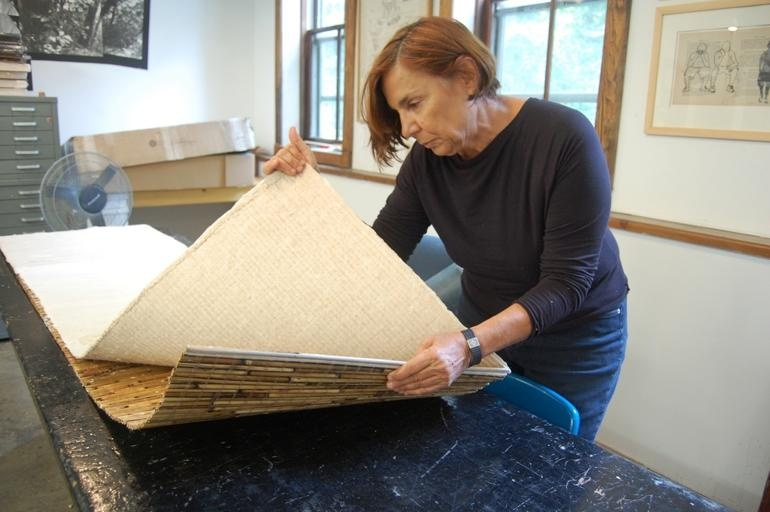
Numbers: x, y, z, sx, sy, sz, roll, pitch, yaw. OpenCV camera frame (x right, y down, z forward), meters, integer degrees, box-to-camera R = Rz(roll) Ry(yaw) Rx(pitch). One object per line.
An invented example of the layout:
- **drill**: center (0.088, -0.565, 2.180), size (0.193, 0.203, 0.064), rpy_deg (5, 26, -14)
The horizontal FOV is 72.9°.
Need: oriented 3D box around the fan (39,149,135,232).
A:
- **fan**: center (-1.510, -0.330, 2.665), size (0.363, 0.430, 0.267), rpy_deg (29, 11, -40)
